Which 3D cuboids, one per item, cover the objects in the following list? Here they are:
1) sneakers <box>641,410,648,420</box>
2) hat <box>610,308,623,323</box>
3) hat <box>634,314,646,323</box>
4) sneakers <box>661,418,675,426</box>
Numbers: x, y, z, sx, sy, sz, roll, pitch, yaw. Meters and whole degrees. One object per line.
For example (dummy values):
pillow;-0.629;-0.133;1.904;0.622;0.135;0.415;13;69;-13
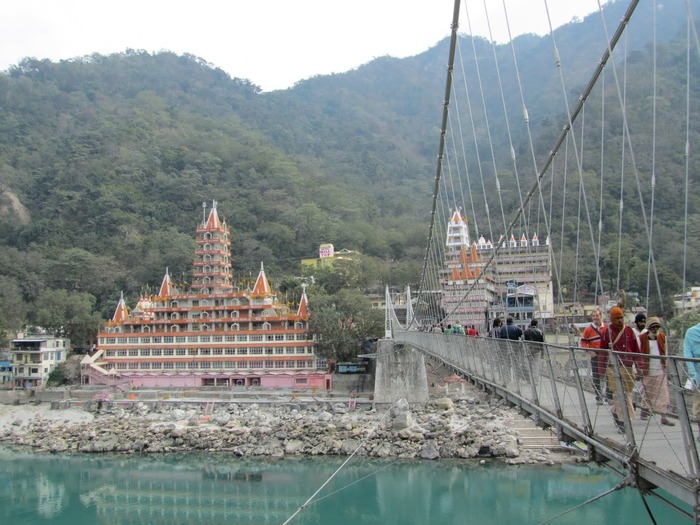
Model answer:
sneakers;6.066;3.125;15.115;0.172;0.191;0.171;1;-8;-6
hat;5.878;1.144;16.191;0.261;0.356;0.280;-2;12;18
hat;6.702;1.287;16.959;0.190;0.204;0.206;1;-3;-2
sneakers;6.405;3.201;14.840;0.278;0.185;0.098;-6;-2;21
